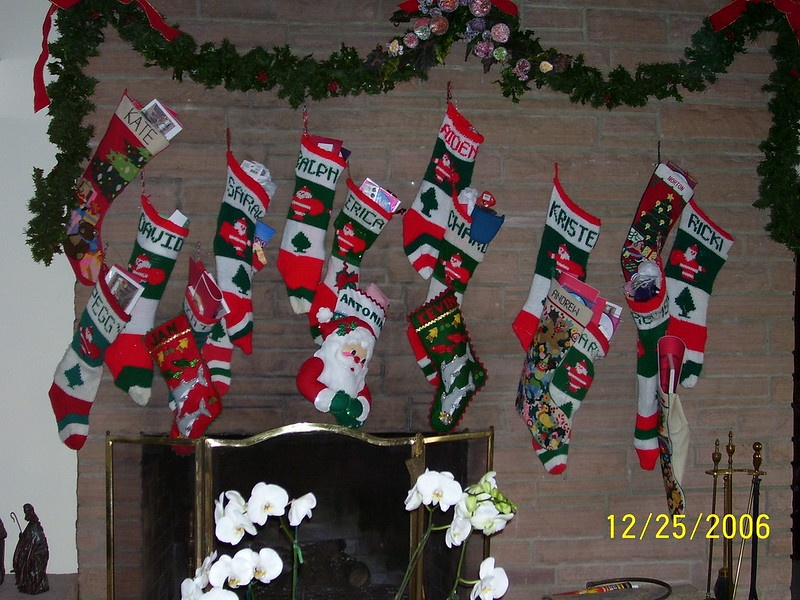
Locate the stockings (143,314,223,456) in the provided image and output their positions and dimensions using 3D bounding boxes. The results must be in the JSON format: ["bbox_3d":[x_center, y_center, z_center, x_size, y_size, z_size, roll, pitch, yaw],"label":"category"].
[{"bbox_3d":[-0.788,0.276,5.818,0.262,0.426,0.112,15,-22,-37],"label":"stockings"}]

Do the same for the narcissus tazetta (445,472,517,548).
[{"bbox_3d":[0.221,0.668,5.038,0.233,0.208,0.118,-21,-61,41],"label":"narcissus tazetta"}]

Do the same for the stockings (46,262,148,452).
[{"bbox_3d":[-1.115,0.207,5.843,0.150,0.623,0.350,18,-23,-42],"label":"stockings"}]
